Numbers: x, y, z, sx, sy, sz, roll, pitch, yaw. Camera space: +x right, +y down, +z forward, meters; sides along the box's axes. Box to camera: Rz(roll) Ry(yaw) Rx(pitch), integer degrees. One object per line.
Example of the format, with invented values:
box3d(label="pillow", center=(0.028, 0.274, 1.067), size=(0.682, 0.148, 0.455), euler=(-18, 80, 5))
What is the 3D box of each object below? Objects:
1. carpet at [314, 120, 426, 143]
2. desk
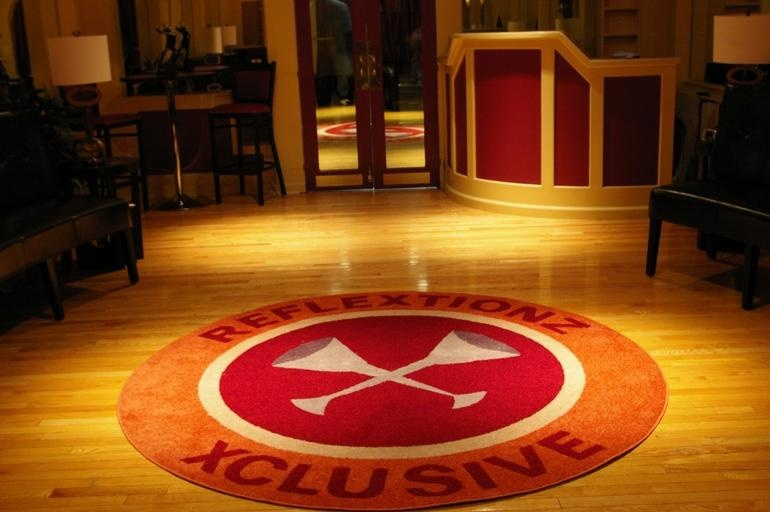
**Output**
box3d(label="carpet", center=(-0.205, -1.597, 7.511), size=(1.370, 0.231, 0.064), euler=(0, 22, 4))
box3d(label="desk", center=(-2.638, -1.526, 7.321), size=(1.224, 1.636, 1.336), euler=(-6, 21, -10))
